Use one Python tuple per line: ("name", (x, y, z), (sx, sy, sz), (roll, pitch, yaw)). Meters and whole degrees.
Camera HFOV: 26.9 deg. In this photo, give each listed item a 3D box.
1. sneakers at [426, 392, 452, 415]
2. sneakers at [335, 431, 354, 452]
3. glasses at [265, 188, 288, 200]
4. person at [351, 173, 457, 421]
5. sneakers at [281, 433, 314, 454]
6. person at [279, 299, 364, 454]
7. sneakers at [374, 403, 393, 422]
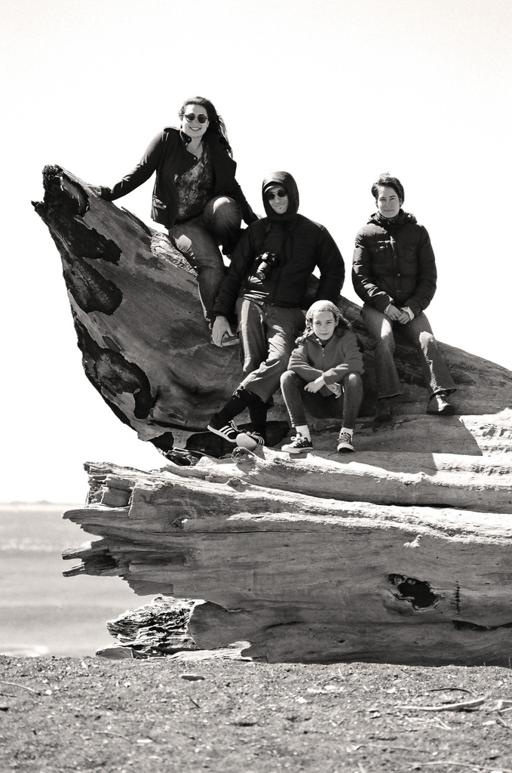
("sneakers", (1.565, 0.140, 8.994), (0.205, 0.198, 0.238), (1, 1, -4))
("sneakers", (0.723, 0.438, 8.551), (0.127, 0.183, 0.205), (1, 1, 5))
("glasses", (0.185, -1.695, 9.357), (0.105, 0.036, 0.097), (-9, -40, 19))
("person", (1.287, -0.818, 9.264), (0.771, 2.076, 0.843), (1, 2, -9))
("sneakers", (0.316, 0.463, 8.541), (0.113, 0.134, 0.337), (-6, -12, 39))
("person", (0.536, -0.090, 8.684), (0.648, 1.241, 0.499), (1, 2, 1))
("sneakers", (1.085, 0.208, 9.085), (0.161, 0.156, 0.080), (-7, -33, 9))
